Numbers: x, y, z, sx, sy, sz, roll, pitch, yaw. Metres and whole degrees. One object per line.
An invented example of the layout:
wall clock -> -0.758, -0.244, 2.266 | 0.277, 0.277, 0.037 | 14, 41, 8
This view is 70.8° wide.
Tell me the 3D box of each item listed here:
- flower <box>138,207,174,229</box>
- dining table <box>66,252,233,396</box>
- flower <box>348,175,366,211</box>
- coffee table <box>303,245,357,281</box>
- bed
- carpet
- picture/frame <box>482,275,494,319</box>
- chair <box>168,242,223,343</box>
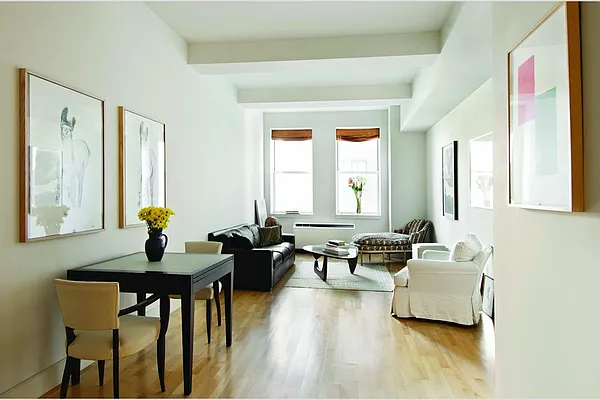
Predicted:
flower -> -1.509, 0.156, 4.347 | 0.288, 0.201, 0.291 | -1, 0, 18
dining table -> -1.310, 1.062, 4.262 | 1.213, 0.921, 1.218 | 0, -1, 7
flower -> 1.274, -0.113, 9.440 | 0.403, 0.824, 0.155 | 1, 10, 7
coffee table -> 0.607, 1.081, 7.179 | 0.922, 0.486, 0.953 | -2, 4, -29
bed -> 1.837, 0.806, 8.262 | 1.156, 0.727, 0.905 | 0, -3, 1
carpet -> 0.697, 1.263, 7.194 | 1.680, 0.236, 2.061 | 0, 9, 6
picture/frame -> 2.364, 1.202, 5.315 | 0.099, 0.430, 0.578 | 3, 10, 20
chair -> -1.197, 1.014, 4.859 | 0.589, 1.026, 0.637 | -1, 0, 4
